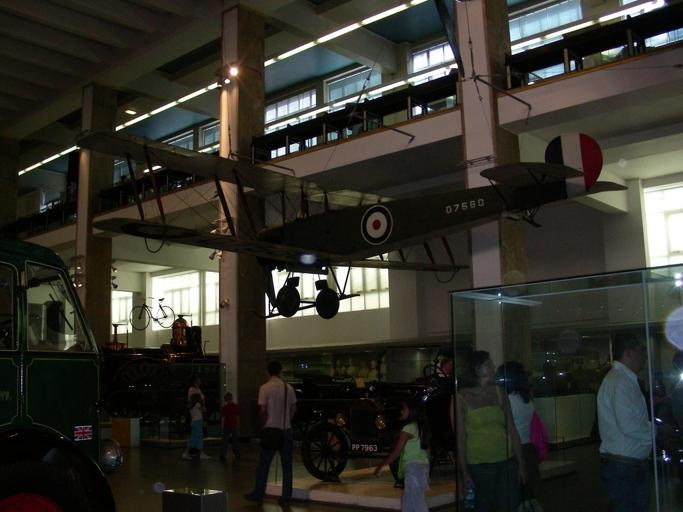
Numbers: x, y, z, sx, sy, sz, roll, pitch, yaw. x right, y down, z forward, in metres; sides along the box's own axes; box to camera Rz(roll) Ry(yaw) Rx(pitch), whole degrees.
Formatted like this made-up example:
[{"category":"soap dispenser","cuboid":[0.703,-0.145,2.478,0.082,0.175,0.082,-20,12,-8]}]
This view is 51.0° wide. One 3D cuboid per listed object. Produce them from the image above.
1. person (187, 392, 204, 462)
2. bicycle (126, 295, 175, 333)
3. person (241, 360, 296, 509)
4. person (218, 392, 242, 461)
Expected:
[{"category":"person","cuboid":[-2.638,3.078,12.965,0.277,1.185,0.570,-1,-7,-13]},{"category":"bicycle","cuboid":[-8.244,2.513,31.130,2.102,1.359,0.520,1,-7,-41]},{"category":"person","cuboid":[-0.909,2.318,9.443,0.620,1.845,0.891,-2,-7,-5]},{"category":"person","cuboid":[-2.068,3.133,13.090,0.345,1.217,0.565,-1,-7,-11]}]
